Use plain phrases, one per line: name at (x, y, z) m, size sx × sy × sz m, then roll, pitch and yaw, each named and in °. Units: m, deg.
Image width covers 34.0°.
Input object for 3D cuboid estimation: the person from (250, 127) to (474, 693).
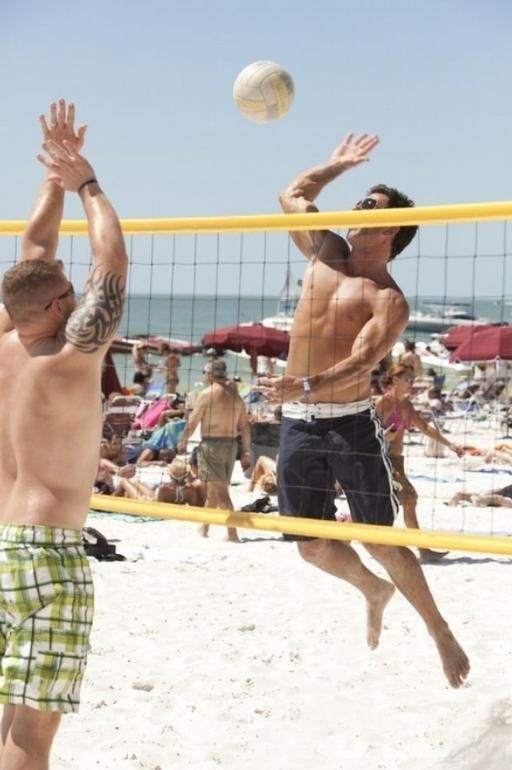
person at (0.285, 0.041, 3.240) m, size 0.942 × 2.129 × 0.825 m, roll 1°, pitch 5°, yaw -32°
